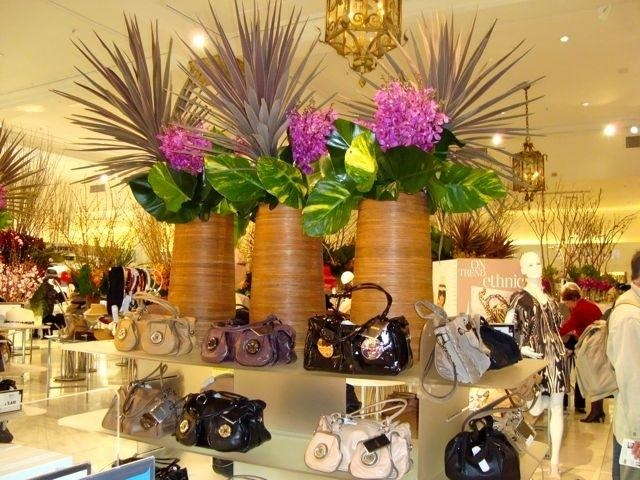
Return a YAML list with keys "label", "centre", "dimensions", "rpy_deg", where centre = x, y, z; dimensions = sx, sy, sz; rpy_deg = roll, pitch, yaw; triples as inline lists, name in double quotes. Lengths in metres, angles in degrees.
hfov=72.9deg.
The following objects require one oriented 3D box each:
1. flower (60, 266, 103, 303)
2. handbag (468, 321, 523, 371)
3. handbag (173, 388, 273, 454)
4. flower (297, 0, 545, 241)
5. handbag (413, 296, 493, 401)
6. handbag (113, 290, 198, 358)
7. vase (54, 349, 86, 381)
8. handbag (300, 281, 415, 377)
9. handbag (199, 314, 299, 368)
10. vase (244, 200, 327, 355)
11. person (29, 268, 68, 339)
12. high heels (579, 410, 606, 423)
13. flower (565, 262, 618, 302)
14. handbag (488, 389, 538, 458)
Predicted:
- label: "flower"
  centre: [-4.029, 0.768, 7.424]
  dimensions: [0.450, 0.649, 1.000]
  rpy_deg: [1, -6, -31]
- label: "handbag"
  centre: [0.776, 0.404, 1.798]
  dimensions: [0.235, 0.244, 0.167]
  rpy_deg: [-6, -15, 28]
- label: "handbag"
  centre: [-0.426, 0.730, 1.970]
  dimensions: [0.363, 0.210, 0.238]
  rpy_deg: [-3, -13, 31]
- label: "flower"
  centre: [0.402, -0.502, 1.821]
  dimensions: [0.817, 0.657, 0.758]
  rpy_deg: [5, 30, 17]
- label: "handbag"
  centre: [0.513, 0.388, 1.640]
  dimensions: [0.175, 0.317, 0.306]
  rpy_deg: [-15, -10, 36]
- label: "handbag"
  centre: [-0.814, 0.405, 2.118]
  dimensions: [0.391, 0.287, 0.221]
  rpy_deg: [3, 2, 10]
- label: "vase"
  centre: [-4.838, 2.386, 8.230]
  dimensions: [0.441, 0.534, 0.483]
  rpy_deg: [-3, -9, 28]
- label: "handbag"
  centre: [0.139, 0.360, 1.731]
  dimensions: [0.407, 0.352, 0.215]
  rpy_deg: [-4, -13, 24]
- label: "handbag"
  centre: [-0.312, 0.440, 1.882]
  dimensions: [0.422, 0.211, 0.121]
  rpy_deg: [-4, -5, 22]
- label: "vase"
  centre: [-0.156, 0.179, 2.032]
  dimensions: [0.390, 0.598, 0.409]
  rpy_deg: [-13, -25, 26]
- label: "person"
  centre: [-6.667, 1.551, 10.619]
  dimensions: [0.868, 1.779, 0.718]
  rpy_deg: [-4, 29, -31]
- label: "high heels"
  centre: [4.265, 2.729, 6.720]
  dimensions: [0.356, 0.155, 0.176]
  rpy_deg: [4, -11, -2]
- label: "flower"
  centre: [6.724, 1.093, 10.360]
  dimensions: [0.844, 0.692, 0.981]
  rpy_deg: [0, -7, 28]
- label: "handbag"
  centre: [0.862, 0.820, 1.920]
  dimensions: [0.180, 0.073, 0.235]
  rpy_deg: [-24, 46, -37]
